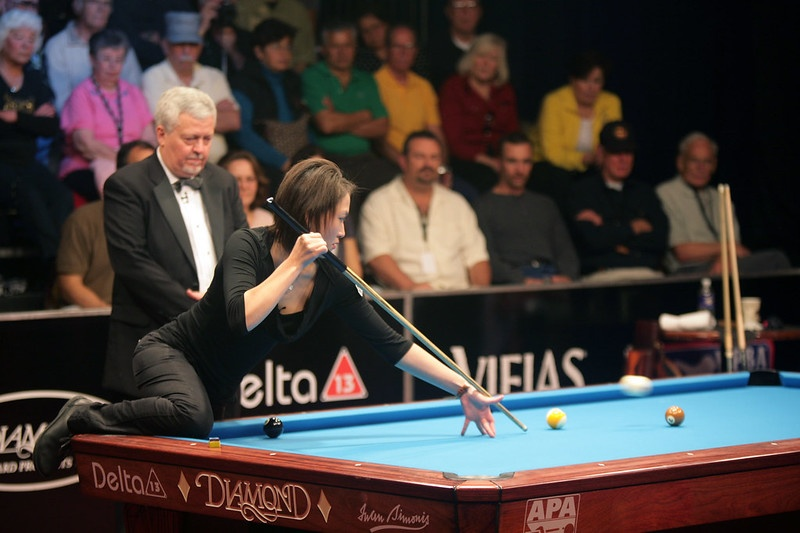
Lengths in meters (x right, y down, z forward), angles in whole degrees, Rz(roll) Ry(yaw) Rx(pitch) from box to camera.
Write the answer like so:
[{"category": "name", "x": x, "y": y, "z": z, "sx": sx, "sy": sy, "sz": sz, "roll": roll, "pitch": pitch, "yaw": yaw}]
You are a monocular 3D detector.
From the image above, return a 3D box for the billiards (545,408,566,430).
[{"category": "billiards", "x": 0.781, "y": 0.762, "z": 5.230, "sx": 0.093, "sy": 0.095, "sz": 0.093, "roll": 29, "pitch": -14, "yaw": -22}]

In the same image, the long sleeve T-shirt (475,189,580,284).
[{"category": "long sleeve T-shirt", "x": 0.977, "y": -0.225, "z": 7.941, "sx": 0.709, "sy": 0.743, "sz": 0.230, "roll": -13, "pitch": 1, "yaw": -21}]

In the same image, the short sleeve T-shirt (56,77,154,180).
[{"category": "short sleeve T-shirt", "x": -1.935, "y": -0.956, "z": 7.012, "sx": 0.609, "sy": 0.628, "sz": 0.335, "roll": -10, "pitch": 19, "yaw": -36}]

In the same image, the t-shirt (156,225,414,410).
[{"category": "t-shirt", "x": -0.631, "y": 0.303, "z": 5.396, "sx": 1.186, "sy": 1.028, "sz": 0.756, "roll": -3, "pitch": -18, "yaw": 26}]

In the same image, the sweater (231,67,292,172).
[{"category": "sweater", "x": -0.965, "y": -1.053, "z": 7.286, "sx": 0.477, "sy": 0.654, "sz": 0.240, "roll": -6, "pitch": 10, "yaw": -28}]

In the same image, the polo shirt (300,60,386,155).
[{"category": "polo shirt", "x": -0.439, "y": -1.163, "z": 7.494, "sx": 0.597, "sy": 0.602, "sz": 0.327, "roll": -5, "pitch": 14, "yaw": -34}]

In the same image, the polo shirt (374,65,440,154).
[{"category": "polo shirt", "x": 0.028, "y": -1.175, "z": 7.650, "sx": 0.507, "sy": 0.592, "sz": 0.292, "roll": -11, "pitch": 16, "yaw": -28}]

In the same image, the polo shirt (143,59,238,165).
[{"category": "polo shirt", "x": -1.314, "y": -0.980, "z": 6.390, "sx": 0.625, "sy": 0.751, "sz": 0.387, "roll": -19, "pitch": 30, "yaw": -34}]

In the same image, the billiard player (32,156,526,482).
[{"category": "billiard player", "x": -0.636, "y": 0.279, "z": 5.094, "sx": 2.207, "sy": 1.545, "sz": 1.030, "roll": 5, "pitch": 0, "yaw": -3}]

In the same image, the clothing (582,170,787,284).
[{"category": "clothing", "x": 2.399, "y": -0.301, "z": 8.654, "sx": 1.296, "sy": 0.880, "sz": 0.770, "roll": -3, "pitch": -1, "yaw": 44}]

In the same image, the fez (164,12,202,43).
[{"category": "fez", "x": -1.481, "y": -1.650, "z": 7.159, "sx": 0.287, "sy": 0.206, "sz": 0.368, "roll": -3, "pitch": 12, "yaw": -26}]

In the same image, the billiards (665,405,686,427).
[{"category": "billiards", "x": 1.372, "y": 0.745, "z": 5.228, "sx": 0.090, "sy": 0.094, "sz": 0.090, "roll": 7, "pitch": 11, "yaw": -38}]

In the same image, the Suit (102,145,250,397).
[{"category": "Suit", "x": -1.342, "y": 0.036, "z": 5.925, "sx": 0.643, "sy": 1.296, "sz": 0.786, "roll": 13, "pitch": 10, "yaw": 23}]

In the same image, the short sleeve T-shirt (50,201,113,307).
[{"category": "short sleeve T-shirt", "x": -2.064, "y": -0.090, "z": 6.684, "sx": 0.213, "sy": 0.548, "sz": 0.620, "roll": 0, "pitch": -8, "yaw": 26}]

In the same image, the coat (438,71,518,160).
[{"category": "coat", "x": 0.641, "y": -1.137, "z": 7.930, "sx": 0.599, "sy": 0.590, "sz": 0.354, "roll": -3, "pitch": 13, "yaw": -19}]

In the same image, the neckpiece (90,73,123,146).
[{"category": "neckpiece", "x": -1.897, "y": -1.051, "z": 6.862, "sx": 0.150, "sy": 0.493, "sz": 0.031, "roll": -10, "pitch": 10, "yaw": -7}]
